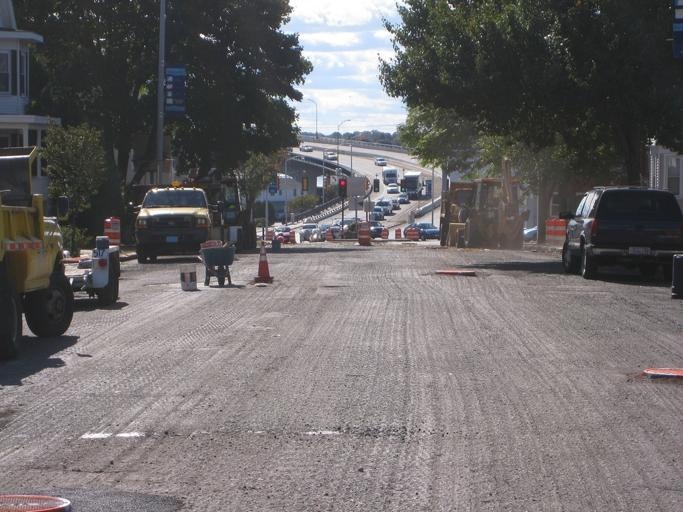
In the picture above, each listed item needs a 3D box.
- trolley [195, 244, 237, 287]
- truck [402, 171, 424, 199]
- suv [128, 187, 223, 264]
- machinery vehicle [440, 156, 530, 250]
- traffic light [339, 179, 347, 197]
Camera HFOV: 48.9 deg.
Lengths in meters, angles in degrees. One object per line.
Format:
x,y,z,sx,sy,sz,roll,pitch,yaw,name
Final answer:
-3.116,0.182,19.134,0.596,0.761,1.433,0,-7,-7,trolley
13.830,-13.331,144.457,2.481,4.992,6.185,2,7,21,truck
-6.150,-1.228,28.653,2.878,2.793,3.547,-1,7,-3,suv
7.793,-2.418,41.133,2.905,4.750,5.322,0,6,-12,machinery vehicle
0.122,-5.603,61.405,0.546,1.522,1.536,-1,6,-7,traffic light
